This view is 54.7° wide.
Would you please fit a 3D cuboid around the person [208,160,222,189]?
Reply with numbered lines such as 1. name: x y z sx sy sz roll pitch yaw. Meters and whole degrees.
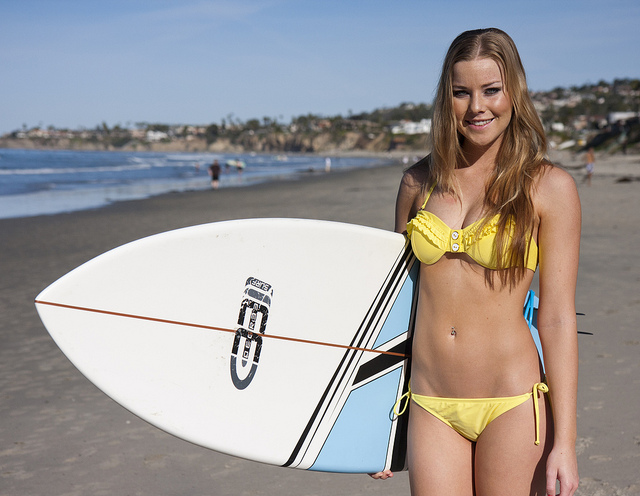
1. person: -3.762 -2.750 23.226 0.417 1.070 1.387 7 10 -10

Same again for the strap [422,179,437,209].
1. strap: 0.463 -0.224 2.622 0.017 0.153 0.011 21 -15 33

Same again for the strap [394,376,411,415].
1. strap: 0.388 0.666 2.820 0.061 0.192 0.019 30 -21 -21

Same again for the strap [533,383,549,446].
1. strap: 0.804 0.623 2.334 0.058 0.214 0.080 11 10 14

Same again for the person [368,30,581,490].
1. person: 0.692 0.084 2.403 0.792 1.823 0.461 12 11 15
